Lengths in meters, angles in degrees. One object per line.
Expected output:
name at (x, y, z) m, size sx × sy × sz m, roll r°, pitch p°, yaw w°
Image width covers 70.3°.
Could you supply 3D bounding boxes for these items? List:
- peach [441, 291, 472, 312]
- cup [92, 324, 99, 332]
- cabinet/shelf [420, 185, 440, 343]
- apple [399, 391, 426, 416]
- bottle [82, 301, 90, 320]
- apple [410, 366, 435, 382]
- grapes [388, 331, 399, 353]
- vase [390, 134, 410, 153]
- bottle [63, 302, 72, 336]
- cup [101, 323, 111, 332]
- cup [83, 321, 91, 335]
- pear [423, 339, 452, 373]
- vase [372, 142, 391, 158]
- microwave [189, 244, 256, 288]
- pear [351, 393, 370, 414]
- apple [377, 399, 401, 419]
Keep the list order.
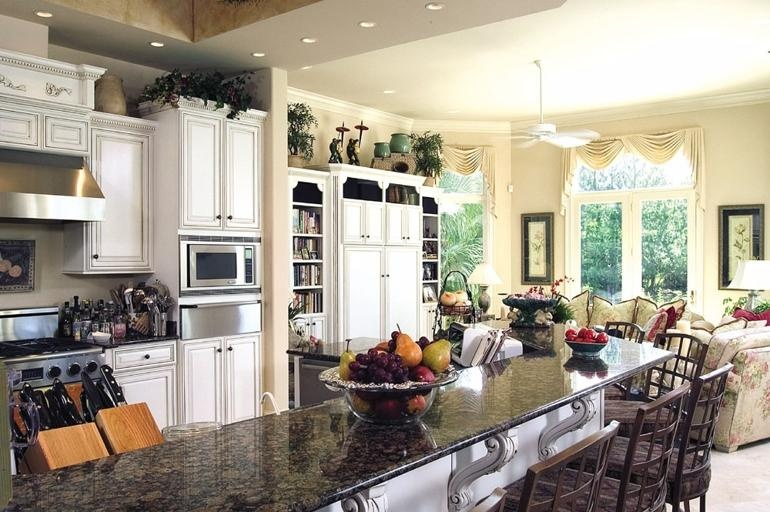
peach at (0.711, 0.456, 5.501) m, size 0.318 × 0.185 × 0.368 m, roll -2°, pitch 0°, yaw 8°
cup at (-2.635, 0.652, 4.952) m, size 0.074 × 0.074 × 0.040 m, roll 1°, pitch 2°, yaw 21°
cabinet/shelf at (0.739, 0.062, 8.775) m, size 0.324 × 2.327 × 0.746 m, roll -2°, pitch 1°, yaw 5°
apple at (0.122, 0.639, 2.361) m, size 0.100 × 0.080 × 0.076 m, roll -17°, pitch 0°, yaw 8°
bottle at (-2.785, 0.503, 5.080) m, size 0.068 × 0.170 × 0.143 m, roll -2°, pitch 1°, yaw -28°
apple at (0.157, 0.504, 2.304) m, size 0.084 × 0.069 × 0.071 m, roll 2°, pitch -8°, yaw 10°
grapes at (0.038, 0.389, 2.460) m, size 0.036 × 0.095 × 0.053 m, roll 14°, pitch 10°, yaw -35°
vase at (0.231, -1.698, 8.338) m, size 0.248 × 0.222 × 0.329 m, roll -1°, pitch -7°, yaw 2°
bottle at (-2.953, 0.587, 5.059) m, size 0.087 × 0.326 × 0.157 m, roll -2°, pitch 1°, yaw -31°
cup at (-2.519, 0.647, 4.942) m, size 0.080 × 0.107 × 0.080 m, roll 1°, pitch -1°, yaw 0°
cup at (-2.734, 0.658, 4.994) m, size 0.077 × 0.143 × 0.039 m, roll -2°, pitch 1°, yaw -33°
pear at (0.229, 0.449, 2.422) m, size 0.147 × 0.140 × 0.089 m, roll -2°, pitch 1°, yaw -15°
vase at (-0.067, -1.585, 8.167) m, size 0.233 × 0.215 × 0.239 m, roll -2°, pitch -2°, yaw 36°
microwave at (-1.700, 0.134, 5.557) m, size 0.388 × 0.409 × 0.647 m, roll -4°, pitch -5°, yaw 42°
pear at (-0.109, 0.626, 2.319) m, size 0.091 × 0.074 × 0.095 m, roll 2°, pitch -2°, yaw -44°
apple at (0.018, 0.655, 2.358) m, size 0.081 × 0.095 × 0.081 m, roll 10°, pitch -7°, yaw 10°
